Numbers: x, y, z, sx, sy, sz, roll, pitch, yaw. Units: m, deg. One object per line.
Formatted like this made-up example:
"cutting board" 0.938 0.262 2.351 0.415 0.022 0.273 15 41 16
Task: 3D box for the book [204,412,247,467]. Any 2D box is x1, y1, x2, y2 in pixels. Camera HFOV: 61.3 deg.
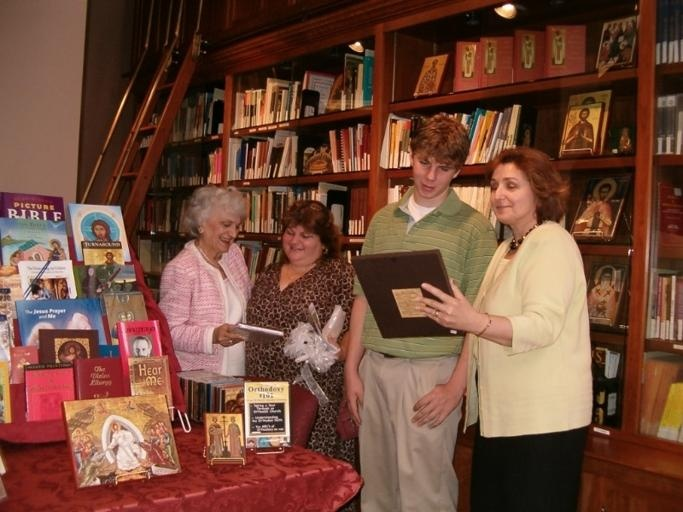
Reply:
"book" -0.383 0.604 1.884 0.165 0.211 0.024 2 -33 -15
